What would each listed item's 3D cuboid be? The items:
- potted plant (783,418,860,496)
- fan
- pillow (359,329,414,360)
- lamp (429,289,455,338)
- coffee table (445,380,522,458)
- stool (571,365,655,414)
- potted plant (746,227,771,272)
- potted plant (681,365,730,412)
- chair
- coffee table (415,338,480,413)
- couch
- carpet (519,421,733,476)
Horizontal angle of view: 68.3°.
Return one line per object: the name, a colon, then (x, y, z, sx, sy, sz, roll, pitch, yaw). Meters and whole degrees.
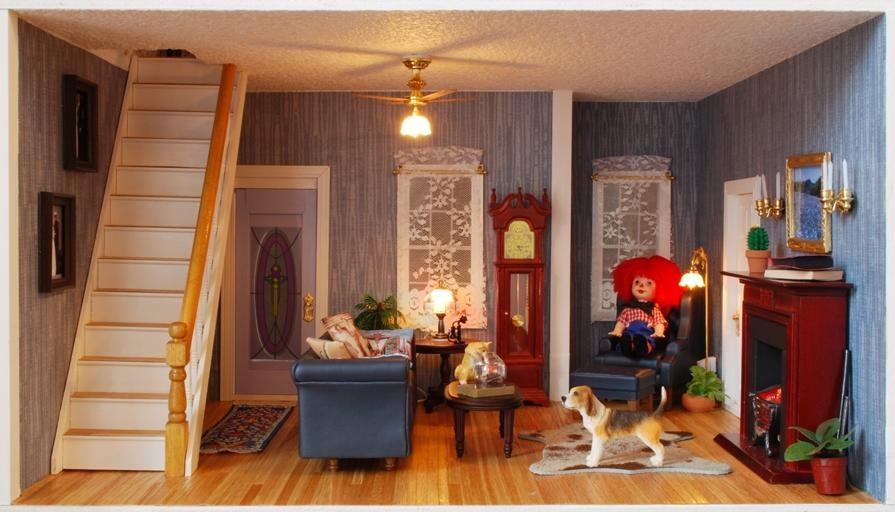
potted plant: (3.459, 1.853, 6.083, 0.710, 0.456, 0.470, -4, 15, -18)
fan: (-0.335, -1.943, 7.304, 1.624, 0.479, 1.501, -7, 14, -26)
pillow: (-0.679, 0.991, 7.627, 0.436, 0.112, 0.395, 4, 13, -3)
lamp: (-0.083, 0.667, 8.171, 0.291, 0.584, 0.520, -1, 10, -1)
coffee table: (0.369, 1.731, 6.994, 0.914, 0.588, 0.815, 0, 1, -5)
stool: (2.020, 1.620, 7.898, 1.009, 0.447, 0.929, 1, -3, -5)
potted plant: (3.309, -0.080, 6.977, 0.284, 0.484, 0.272, -6, 4, -41)
potted plant: (3.108, 1.624, 8.143, 0.592, 0.488, 0.545, 0, -1, -2)
chair: (2.561, 1.128, 8.454, 1.396, 1.270, 1.356, -1, 0, 6)
coffee table: (-0.152, 1.419, 8.165, 0.900, 0.735, 0.927, 1, 1, 17)
couch: (-0.911, 1.307, 6.672, 0.968, 0.739, 1.750, -1, 2, -3)
carpet: (1.743, 2.009, 6.911, 1.942, 0.078, 1.052, 0, 9, 1)
